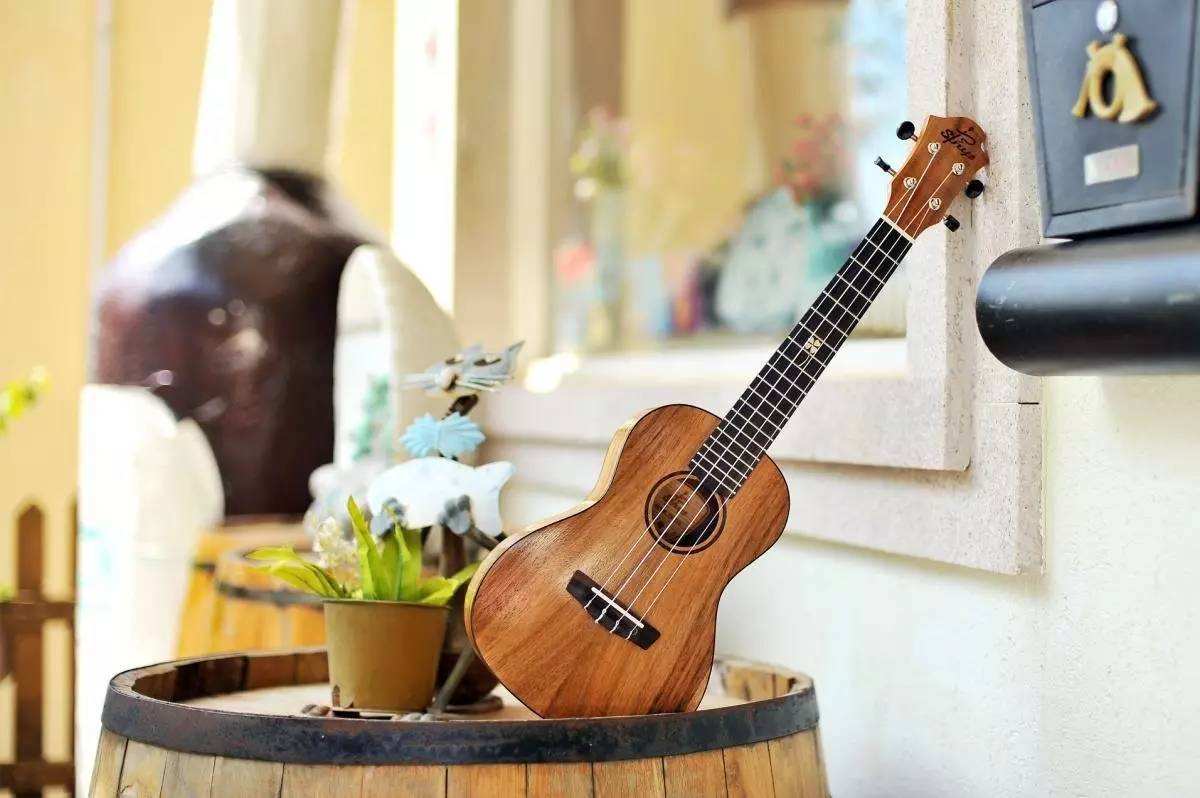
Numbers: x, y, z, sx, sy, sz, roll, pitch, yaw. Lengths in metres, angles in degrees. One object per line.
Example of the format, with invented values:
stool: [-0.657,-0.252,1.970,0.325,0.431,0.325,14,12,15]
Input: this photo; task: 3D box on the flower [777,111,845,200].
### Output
flower: [0.391,-0.435,2.668,0.086,0.158,0.029,26,22,28]

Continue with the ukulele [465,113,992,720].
ukulele: [0.190,0.024,2.188,0.389,1.017,0.143,36,-5,-5]

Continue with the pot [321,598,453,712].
pot: [-0.312,0.359,2.124,0.170,0.162,0.194,3,-2,0]

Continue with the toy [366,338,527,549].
toy: [-0.231,0.079,2.137,0.221,0.360,0.068,-1,27,-20]

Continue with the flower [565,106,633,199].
flower: [-0.001,-0.490,2.968,0.096,0.182,0.038,11,12,23]
